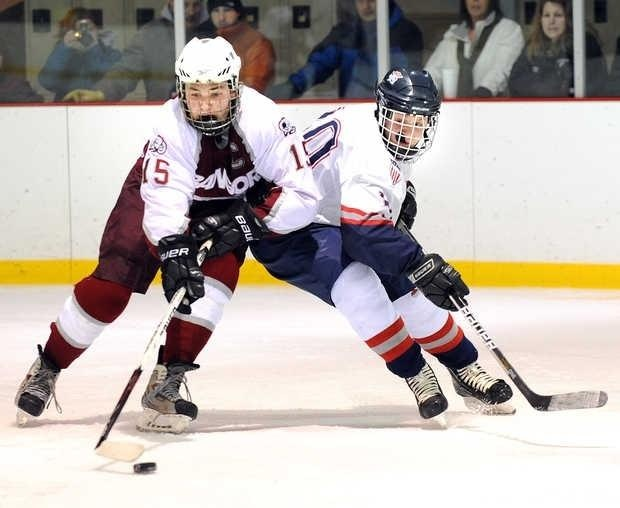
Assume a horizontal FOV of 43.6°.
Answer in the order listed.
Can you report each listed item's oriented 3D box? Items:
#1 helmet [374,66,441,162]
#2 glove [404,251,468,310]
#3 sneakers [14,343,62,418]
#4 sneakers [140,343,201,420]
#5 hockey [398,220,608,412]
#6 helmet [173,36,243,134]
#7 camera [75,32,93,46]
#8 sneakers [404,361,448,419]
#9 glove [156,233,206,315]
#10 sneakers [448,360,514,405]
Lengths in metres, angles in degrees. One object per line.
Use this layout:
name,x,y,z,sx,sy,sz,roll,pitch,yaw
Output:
helmet,0.327,-0.506,2.746,0.237,0.284,0.299,-2,29,-25
glove,0.425,0.090,2.603,0.231,0.137,0.079,40,8,-21
sneakers,-0.940,0.440,2.714,0.102,0.156,0.336,30,4,-16
sneakers,-0.452,0.450,2.555,0.250,0.225,0.085,0,-18,43
hockey,0.563,0.179,2.846,0.209,0.132,1.167,0,30,-32
helmet,-0.363,-0.554,2.543,0.251,0.293,0.310,-7,23,-19
camera,-1.678,-1.601,5.787,0.098,0.052,0.072,32,28,4
sneakers,0.381,0.459,2.675,0.084,0.097,0.252,-34,17,6
glove,-0.385,0.060,2.452,0.144,0.216,0.083,-14,-1,17
sneakers,0.591,0.455,2.743,0.096,0.104,0.272,-41,18,-16
